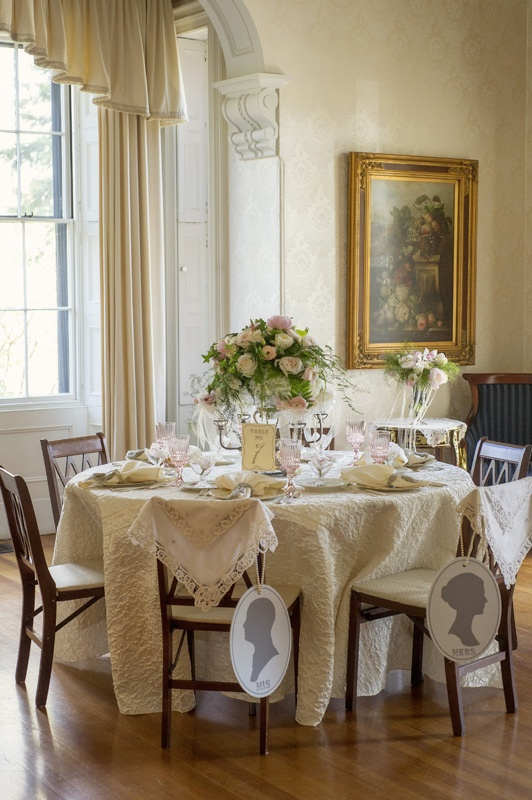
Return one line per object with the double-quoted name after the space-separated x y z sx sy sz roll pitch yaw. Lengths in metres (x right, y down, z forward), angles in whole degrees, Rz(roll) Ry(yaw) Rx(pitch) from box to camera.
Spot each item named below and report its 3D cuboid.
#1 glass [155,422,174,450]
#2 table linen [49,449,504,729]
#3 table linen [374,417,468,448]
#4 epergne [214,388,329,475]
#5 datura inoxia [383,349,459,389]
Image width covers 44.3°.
-0.382 0.133 2.464 0.092 0.115 0.094 2 1 -13 "glass"
0.090 0.552 2.147 1.010 0.445 0.994 2 -3 -41 "table linen"
1.094 0.200 4.397 0.362 0.090 0.374 -1 -1 -2 "table linen"
0.042 0.101 2.545 0.286 0.294 0.391 -6 6 -44 "epergne"
0.941 -0.189 4.001 0.368 0.312 0.439 1 4 5 "datura inoxia"
